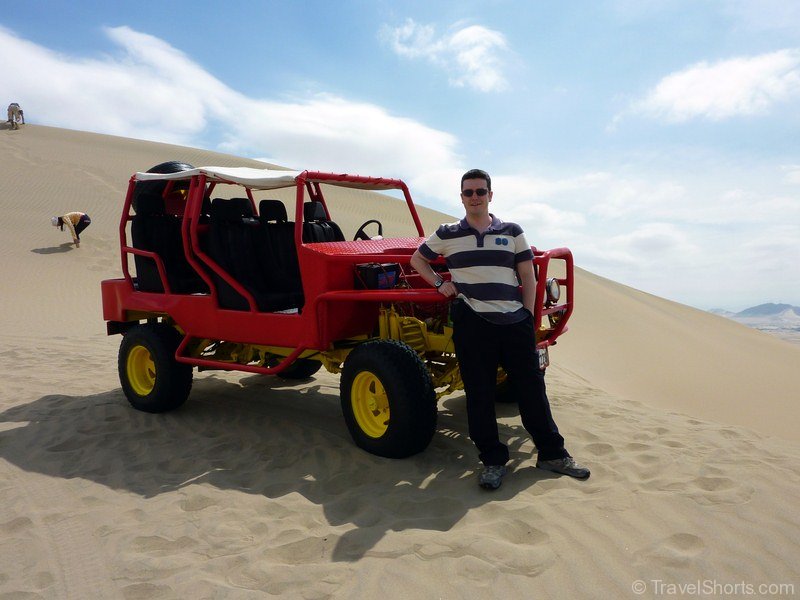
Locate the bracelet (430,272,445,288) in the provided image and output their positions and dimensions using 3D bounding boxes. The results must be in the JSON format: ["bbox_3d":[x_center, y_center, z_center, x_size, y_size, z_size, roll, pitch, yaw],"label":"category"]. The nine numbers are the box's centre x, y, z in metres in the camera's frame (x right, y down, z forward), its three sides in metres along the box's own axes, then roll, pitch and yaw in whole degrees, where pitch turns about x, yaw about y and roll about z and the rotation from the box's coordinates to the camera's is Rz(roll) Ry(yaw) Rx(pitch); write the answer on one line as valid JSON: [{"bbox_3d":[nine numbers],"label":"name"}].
[{"bbox_3d":[0.297,-0.152,4.712,0.133,0.033,0.134,24,3,0],"label":"bracelet"}]

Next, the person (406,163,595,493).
[{"bbox_3d":[0.747,0.244,4.688,1.206,2.501,0.455,-2,11,0],"label":"person"}]

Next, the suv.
[{"bbox_3d":[-0.548,-0.092,6.820,5.131,2.752,2.711,4,6,34],"label":"suv"}]

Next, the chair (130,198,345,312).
[{"bbox_3d":[-1.868,-0.542,6.657,1.483,0.947,2.099,1,6,30],"label":"chair"}]

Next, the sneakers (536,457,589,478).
[{"bbox_3d":[1.343,1.384,4.942,0.404,0.155,0.146,3,3,22],"label":"sneakers"}]

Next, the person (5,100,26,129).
[{"bbox_3d":[-19.303,-9.269,29.856,0.696,1.330,3.047,-9,13,-31],"label":"person"}]
